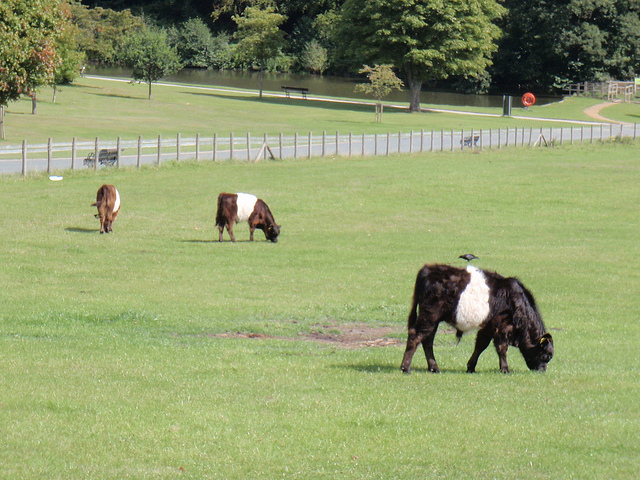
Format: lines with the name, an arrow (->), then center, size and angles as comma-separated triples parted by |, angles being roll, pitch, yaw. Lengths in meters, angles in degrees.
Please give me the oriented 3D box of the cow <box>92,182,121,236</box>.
cow -> -14.774, -2.134, 112.185 | 1.468, 3.468, 0.913 | 0, 5, -21
